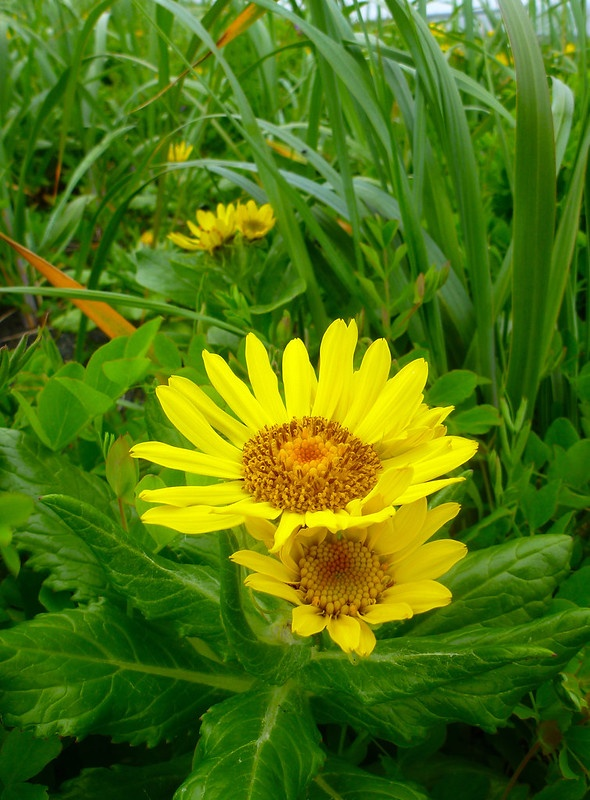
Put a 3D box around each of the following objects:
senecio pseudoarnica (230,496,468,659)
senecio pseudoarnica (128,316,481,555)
[{"bbox_3d":[0.008,0.176,0.626,0.155,0.151,0.062,-21,5,21],"label":"senecio pseudoarnica"},{"bbox_3d":[0.012,0.040,0.643,0.295,0.104,0.299,-5,31,6],"label":"senecio pseudoarnica"}]
